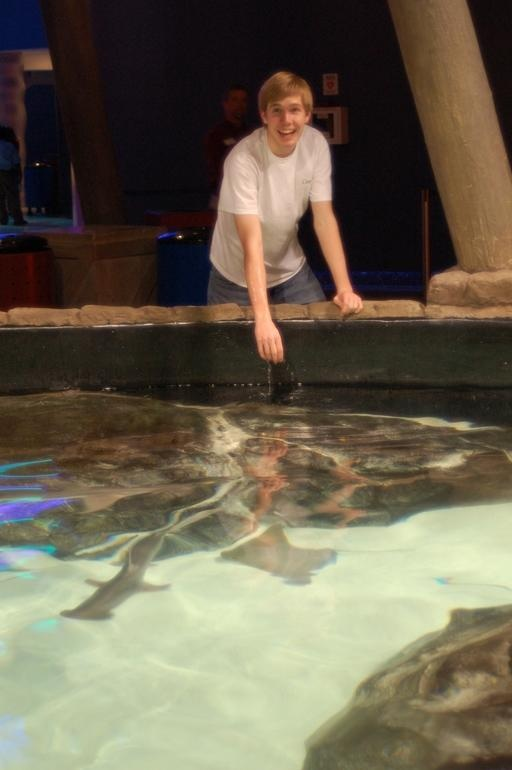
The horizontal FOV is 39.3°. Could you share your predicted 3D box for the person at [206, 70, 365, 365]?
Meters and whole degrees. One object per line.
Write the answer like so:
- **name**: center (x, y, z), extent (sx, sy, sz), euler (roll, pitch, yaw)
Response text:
- **person**: center (0.100, -0.659, 2.930), extent (0.634, 1.087, 0.705), euler (-7, 17, -3)
